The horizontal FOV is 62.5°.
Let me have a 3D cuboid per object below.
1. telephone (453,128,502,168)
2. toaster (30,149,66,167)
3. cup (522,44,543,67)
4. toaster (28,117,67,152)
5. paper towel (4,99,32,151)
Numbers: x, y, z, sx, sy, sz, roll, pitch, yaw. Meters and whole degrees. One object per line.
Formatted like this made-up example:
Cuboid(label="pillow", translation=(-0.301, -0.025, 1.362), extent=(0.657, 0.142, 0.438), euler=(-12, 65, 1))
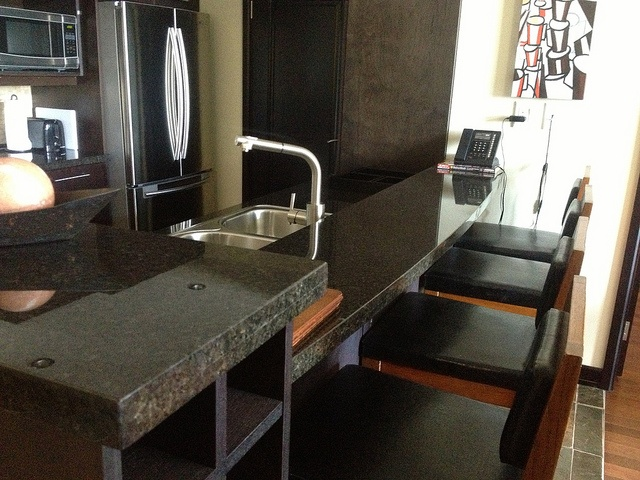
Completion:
Cuboid(label="telephone", translation=(0.962, -0.564, 3.219), extent=(0.234, 0.191, 0.289), euler=(9, 21, 18))
Cuboid(label="toaster", translation=(-1.699, -0.506, 3.317), extent=(0.209, 0.054, 0.524), euler=(-8, 22, -26))
Cuboid(label="cup", translation=(1.259, -1.081, 3.132), extent=(0.096, 0.116, 0.121), euler=(10, 29, 27))
Cuboid(label="toaster", translation=(-1.832, -0.705, 3.541), extent=(0.225, 0.228, 0.139), euler=(18, 24, 30))
Cuboid(label="paper towel", translation=(-1.928, -0.716, 3.348), extent=(0.145, 0.324, 0.183), euler=(-10, 23, -30))
